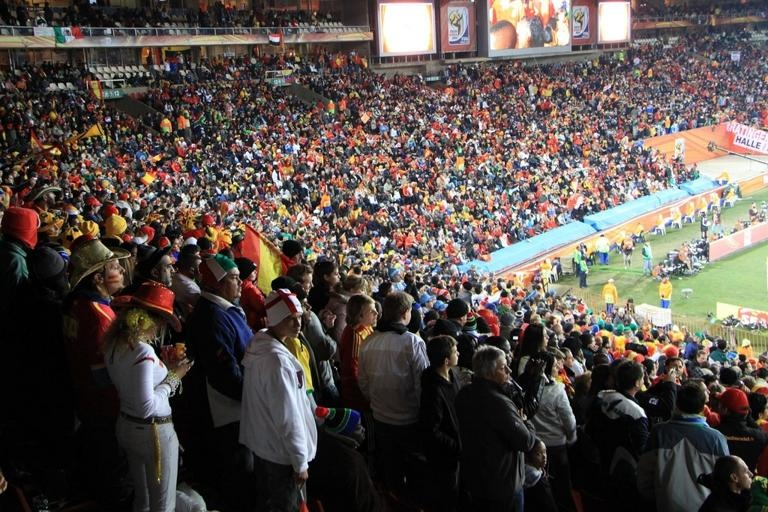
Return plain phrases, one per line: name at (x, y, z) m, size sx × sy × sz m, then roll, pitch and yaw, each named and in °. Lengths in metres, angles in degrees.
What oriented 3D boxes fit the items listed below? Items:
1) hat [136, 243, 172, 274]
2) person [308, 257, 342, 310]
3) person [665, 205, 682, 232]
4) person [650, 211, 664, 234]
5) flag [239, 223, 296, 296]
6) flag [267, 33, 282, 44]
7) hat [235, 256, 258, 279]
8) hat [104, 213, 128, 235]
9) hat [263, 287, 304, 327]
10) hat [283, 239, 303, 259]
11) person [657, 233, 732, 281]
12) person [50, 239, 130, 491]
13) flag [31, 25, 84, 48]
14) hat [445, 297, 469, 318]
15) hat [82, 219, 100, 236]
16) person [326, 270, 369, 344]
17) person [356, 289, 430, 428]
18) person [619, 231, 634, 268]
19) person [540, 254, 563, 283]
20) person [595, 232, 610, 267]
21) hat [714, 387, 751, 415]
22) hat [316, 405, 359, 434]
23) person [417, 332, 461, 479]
hat at (-2.667, 0.037, 8.025) m, size 0.377 × 0.277 × 0.255 m, roll -1°, pitch 11°, yaw -9°
person at (-0.763, 0.382, 9.015) m, size 0.366 × 1.135 × 0.306 m, roll -4°, pitch 14°, yaw -29°
person at (13.328, -1.767, 31.804) m, size 0.717 × 0.852 × 1.219 m, roll 5°, pitch 12°, yaw 23°
person at (12.123, -1.416, 30.741) m, size 0.686 × 0.795 × 1.133 m, roll 8°, pitch 14°, yaw 37°
flag at (-1.708, 0.038, 10.062) m, size 0.931 × 1.067 × 0.085 m, roll 12°, pitch -13°, yaw -17°
flag at (-5.274, -10.412, 33.233) m, size 0.717 × 0.087 × 0.723 m, roll -1°, pitch 53°, yaw -18°
hat at (-1.631, 0.178, 8.296) m, size 0.228 × 0.112 × 0.248 m, roll 25°, pitch 53°, yaw 17°
hat at (-4.068, -0.443, 10.564) m, size 0.262 × 0.277 × 0.339 m, roll 10°, pitch 32°, yaw -10°
hat at (-1.013, 0.517, 6.928) m, size 0.356 × 0.388 × 0.374 m, roll -4°, pitch -1°, yaw -40°
hat at (-1.323, -0.104, 10.134) m, size 0.194 × 0.228 × 0.270 m, roll 3°, pitch 28°, yaw 15°
person at (11.452, 0.069, 26.441) m, size 1.409 × 1.190 × 3.276 m, roll 8°, pitch 14°, yaw 34°
person at (-2.945, 1.331, 7.531) m, size 0.861 × 3.218 × 0.881 m, roll -6°, pitch 22°, yaw -29°
flag at (-12.188, -8.266, 26.084) m, size 0.261 × 0.721 × 2.064 m, roll 5°, pitch 12°, yaw 26°
hat at (0.911, 0.657, 8.741) m, size 0.187 × 0.231 × 0.272 m, roll 7°, pitch 29°, yaw 17°
hat at (-4.120, -0.398, 9.752) m, size 0.136 × 0.177 × 0.197 m, roll 17°, pitch 33°, yaw -7°
person at (-0.480, 0.582, 8.607) m, size 0.687 × 0.794 × 0.562 m, roll -1°, pitch -2°, yaw -8°
person at (0.107, 1.118, 7.624) m, size 0.769 × 1.401 × 0.397 m, roll 0°, pitch 10°, yaw -2°
person at (9.509, -0.357, 27.563) m, size 0.472 × 1.037 × 1.869 m, roll -5°, pitch 12°, yaw 20°
person at (6.080, 0.529, 25.108) m, size 0.802 × 1.213 × 0.865 m, roll 0°, pitch 9°, yaw 8°
person at (8.631, -0.238, 27.401) m, size 0.497 × 1.035 × 0.400 m, roll 4°, pitch 10°, yaw 20°
hat at (4.070, 1.690, 8.118) m, size 0.229 × 0.213 × 0.345 m, roll -7°, pitch 20°, yaw -18°
hat at (-0.481, 1.715, 7.279) m, size 0.320 × 0.351 × 0.314 m, roll 0°, pitch 58°, yaw 11°
person at (0.604, 1.618, 7.398) m, size 0.414 × 1.506 × 0.246 m, roll 1°, pitch 9°, yaw 3°
